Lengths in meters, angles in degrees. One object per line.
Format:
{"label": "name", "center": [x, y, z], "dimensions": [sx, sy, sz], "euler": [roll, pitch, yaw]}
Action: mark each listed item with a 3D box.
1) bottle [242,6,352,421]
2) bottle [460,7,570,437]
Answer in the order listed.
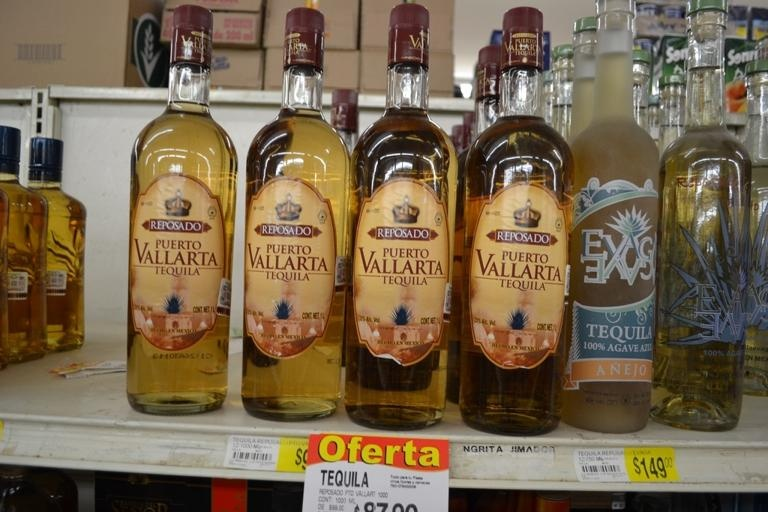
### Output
{"label": "bottle", "center": [-0.167, -0.083, 1.437], "dimensions": [0.201, 0.768, 0.141], "euler": [0, 3, -4]}
{"label": "bottle", "center": [0.246, -0.068, 1.395], "dimensions": [0.195, 0.776, 0.127], "euler": [1, 3, 12]}
